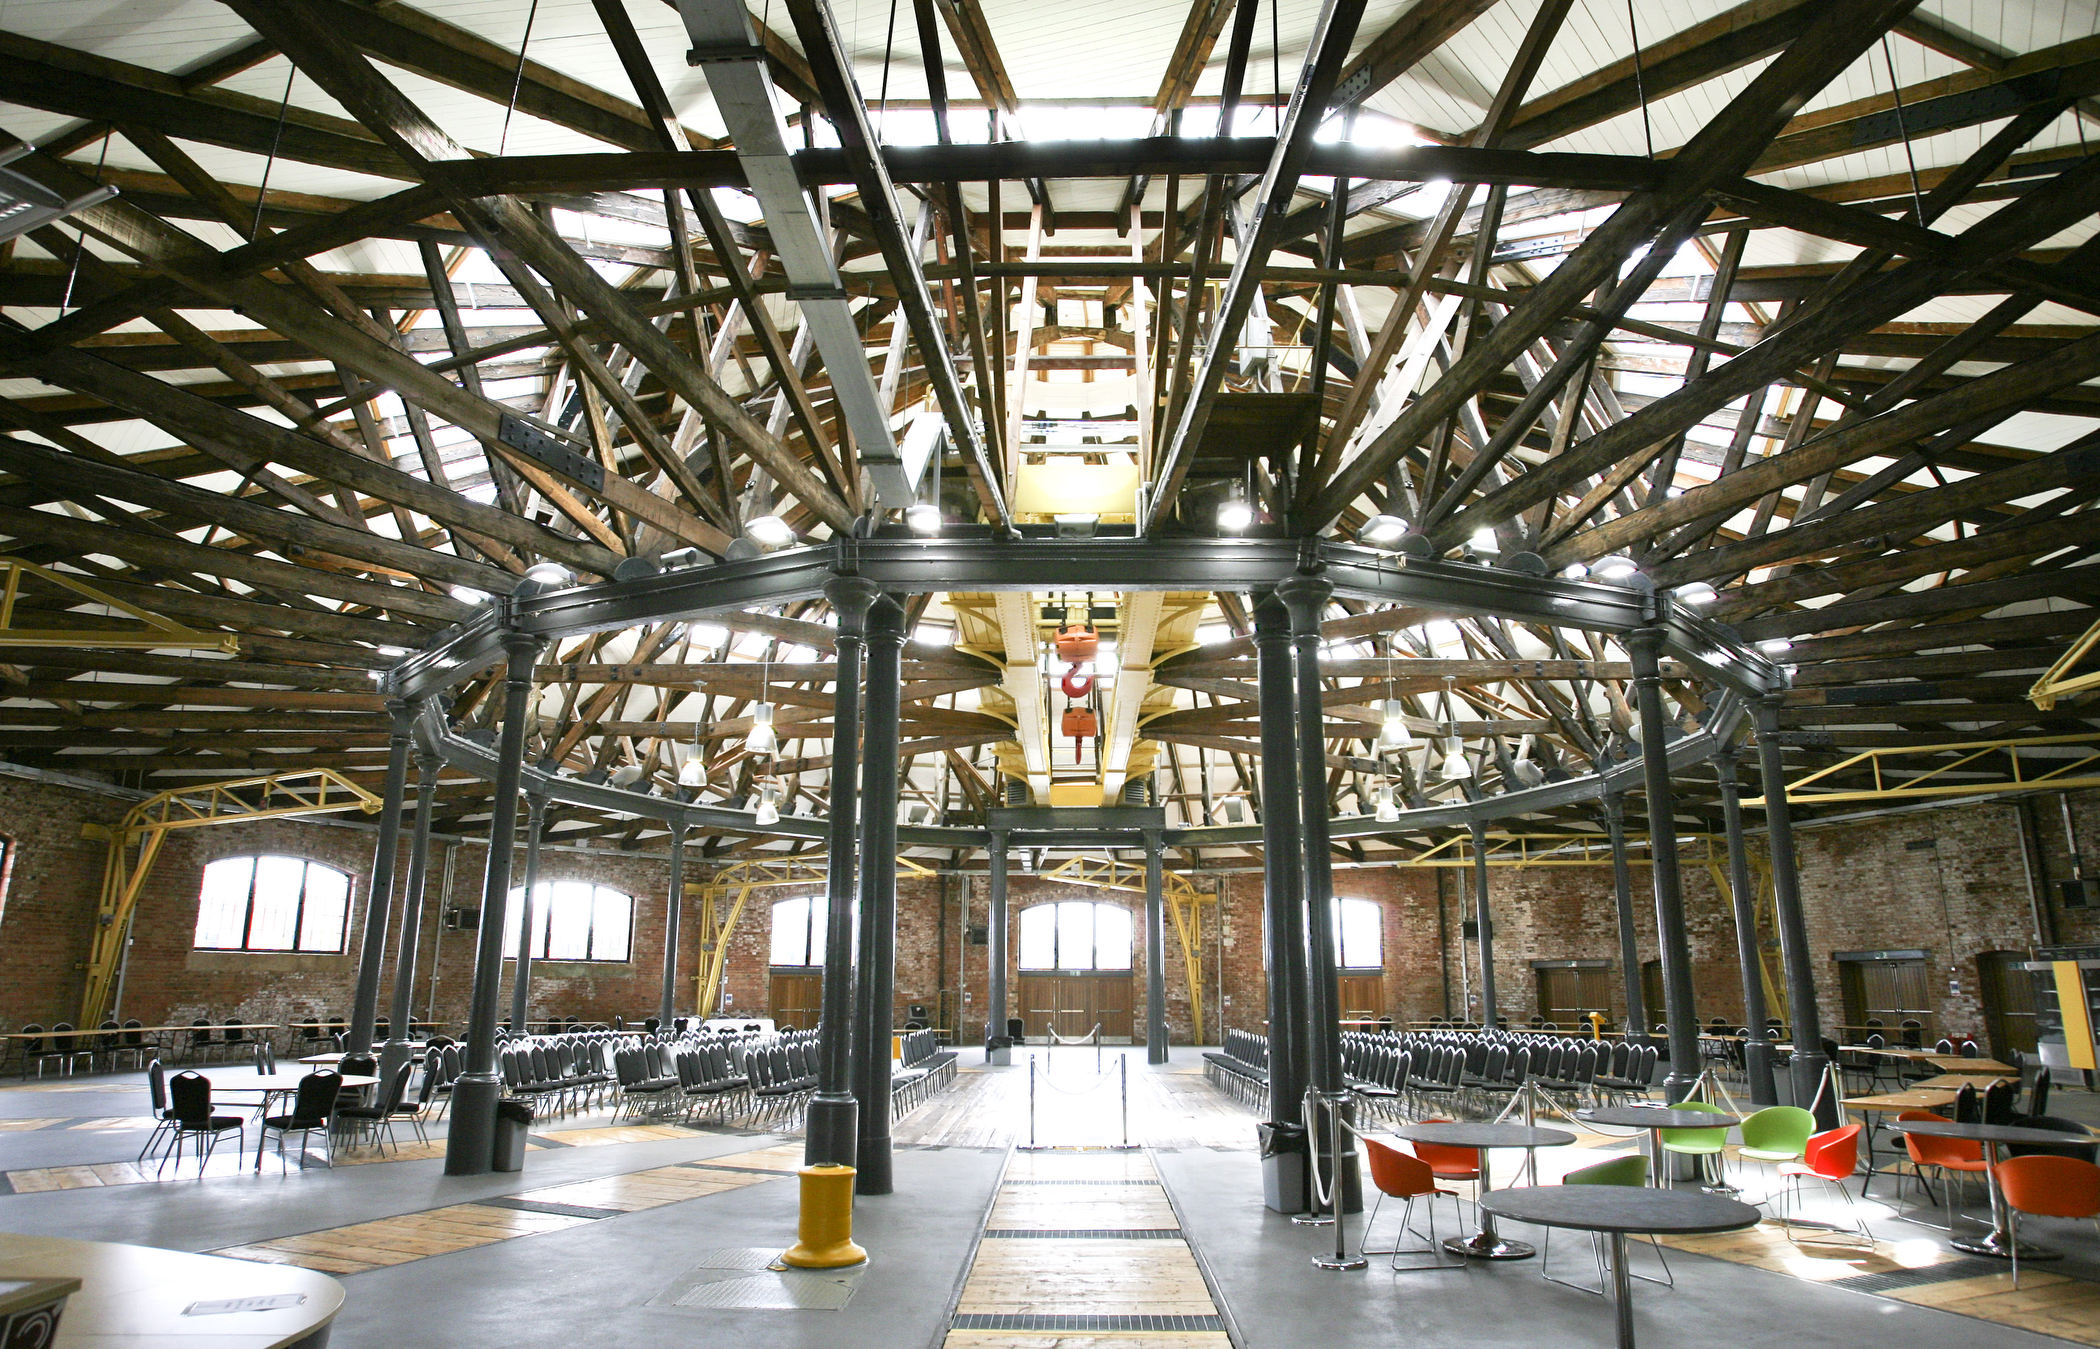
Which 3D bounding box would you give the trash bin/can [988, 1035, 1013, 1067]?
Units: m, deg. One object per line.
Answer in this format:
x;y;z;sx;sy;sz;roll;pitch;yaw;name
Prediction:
-0.940;9.123;28.779;0.787;0.533;0.557;-7;-14;26;trash bin/can

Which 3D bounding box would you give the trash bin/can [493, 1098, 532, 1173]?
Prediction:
-6.485;5.450;14.113;0.384;0.816;0.532;6;-19;-21;trash bin/can
